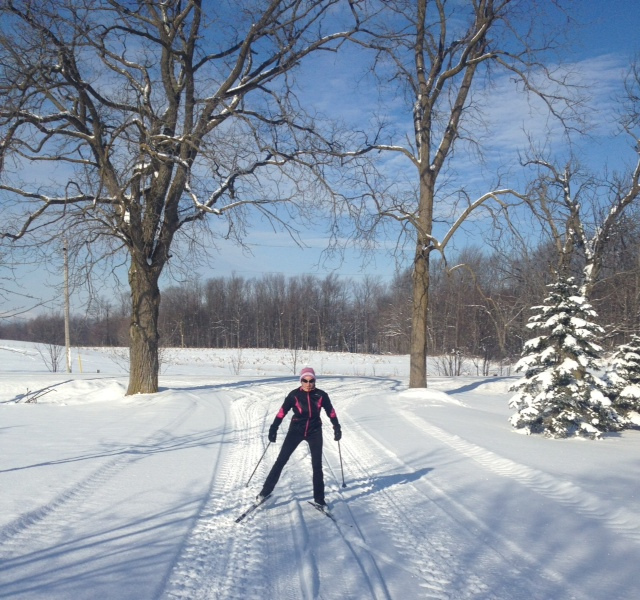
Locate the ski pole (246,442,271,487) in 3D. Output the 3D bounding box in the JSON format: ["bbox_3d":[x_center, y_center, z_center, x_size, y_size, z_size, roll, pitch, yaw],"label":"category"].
[{"bbox_3d":[-1.016,2.746,11.422,0.048,0.709,0.016,25,-25,36],"label":"ski pole"}]

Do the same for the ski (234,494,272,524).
[{"bbox_3d":[-0.983,2.965,9.694,0.080,0.087,1.107,28,-2,10],"label":"ski"}]

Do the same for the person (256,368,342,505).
[{"bbox_3d":[-0.259,1.950,10.289,1.260,1.886,1.040,0,6,-11],"label":"person"}]

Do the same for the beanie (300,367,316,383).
[{"bbox_3d":[-0.175,1.098,10.355,0.187,0.245,0.292,1,-21,-3],"label":"beanie"}]

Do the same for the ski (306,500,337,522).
[{"bbox_3d":[-0.028,2.967,9.935,0.852,0.131,0.073,13,-29,53],"label":"ski"}]
